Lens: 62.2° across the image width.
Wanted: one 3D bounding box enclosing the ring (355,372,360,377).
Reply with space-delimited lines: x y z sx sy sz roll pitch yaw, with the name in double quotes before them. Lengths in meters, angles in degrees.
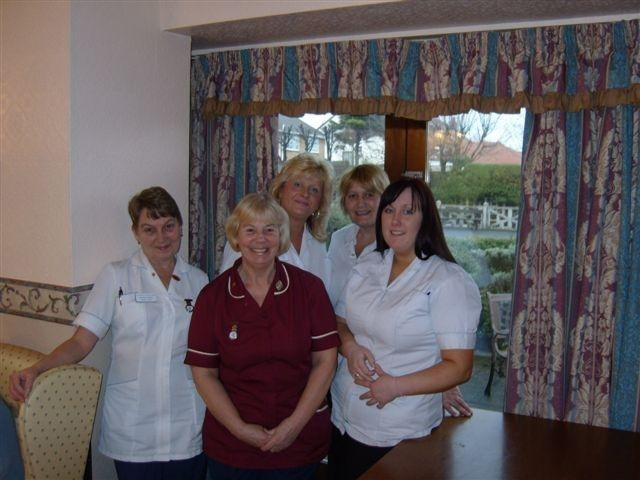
"ring" 0.157 0.578 2.257 0.005 0.015 0.018 -9 0 -44
